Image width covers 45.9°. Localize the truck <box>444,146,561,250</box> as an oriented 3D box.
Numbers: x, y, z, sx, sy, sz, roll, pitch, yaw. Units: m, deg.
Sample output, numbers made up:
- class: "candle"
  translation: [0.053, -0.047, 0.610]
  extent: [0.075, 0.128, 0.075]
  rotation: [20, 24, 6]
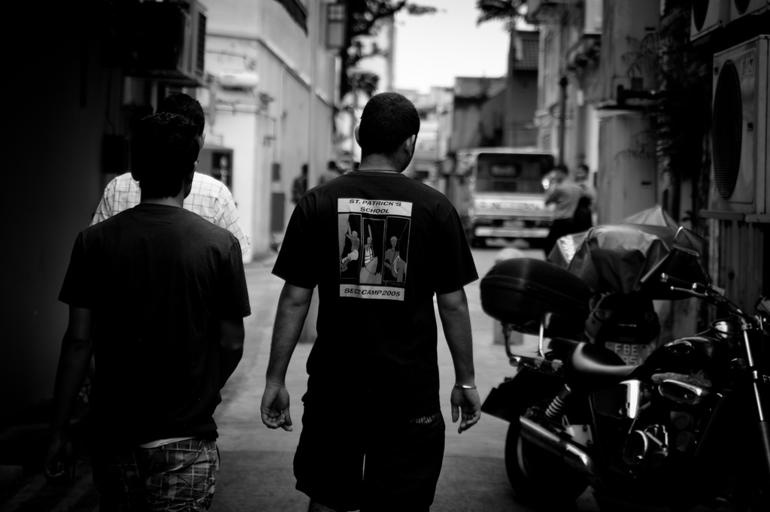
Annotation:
- class: "truck"
  translation: [3.912, -2.013, 29.661]
  extent: [2.425, 2.387, 4.302]
  rotation: [0, 1, 0]
